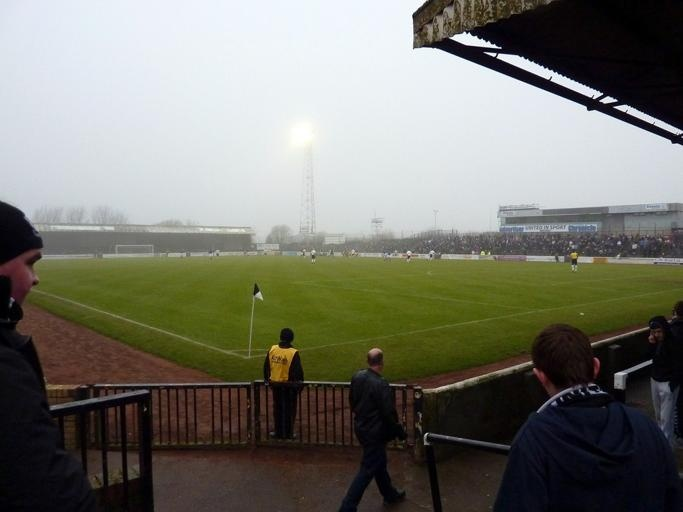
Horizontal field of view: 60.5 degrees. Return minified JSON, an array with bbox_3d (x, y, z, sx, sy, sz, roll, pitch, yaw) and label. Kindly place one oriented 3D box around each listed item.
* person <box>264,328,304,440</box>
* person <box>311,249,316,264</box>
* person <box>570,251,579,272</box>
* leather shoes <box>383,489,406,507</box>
[{"bbox_3d":[-0.777,1.718,7.812,0.499,1.490,0.664,-1,-2,-7],"label":"person"},{"bbox_3d":[-2.307,0.071,47.282,0.201,0.961,0.913,0,-2,-13],"label":"person"},{"bbox_3d":[14.563,0.347,36.775,0.262,1.221,2.258,-1,-1,19],"label":"person"},{"bbox_3d":[0.553,2.465,6.052,0.256,0.117,0.098,-17,15,-41],"label":"leather shoes"}]
